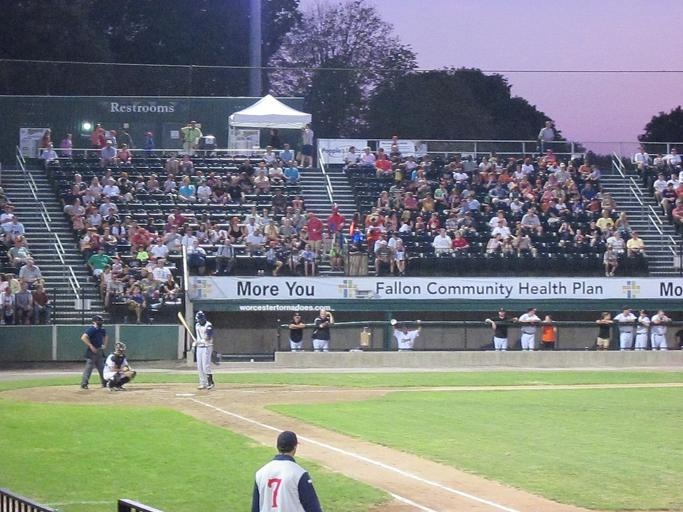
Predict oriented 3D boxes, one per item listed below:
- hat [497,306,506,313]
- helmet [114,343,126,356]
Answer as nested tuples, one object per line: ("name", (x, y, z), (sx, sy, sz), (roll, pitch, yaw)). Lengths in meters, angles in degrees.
("hat", (7.011, 2.317, 75.164), (0.302, 0.165, 0.397), (0, 1, -2))
("helmet", (-8.364, 3.539, 65.863), (0.607, 0.552, 0.495), (-2, -3, 43))
